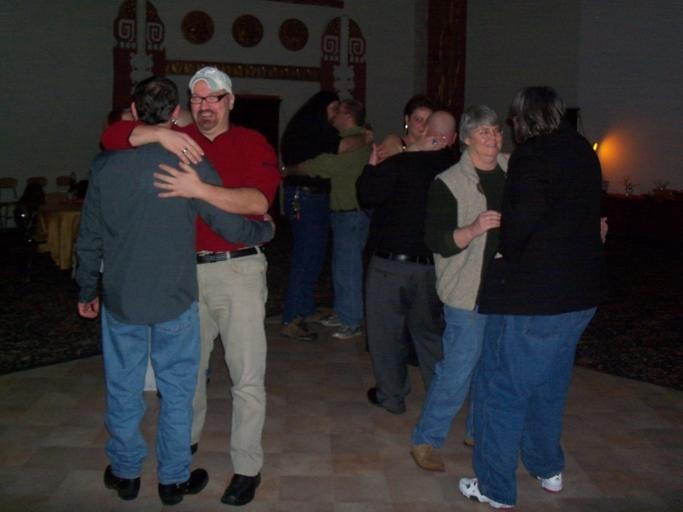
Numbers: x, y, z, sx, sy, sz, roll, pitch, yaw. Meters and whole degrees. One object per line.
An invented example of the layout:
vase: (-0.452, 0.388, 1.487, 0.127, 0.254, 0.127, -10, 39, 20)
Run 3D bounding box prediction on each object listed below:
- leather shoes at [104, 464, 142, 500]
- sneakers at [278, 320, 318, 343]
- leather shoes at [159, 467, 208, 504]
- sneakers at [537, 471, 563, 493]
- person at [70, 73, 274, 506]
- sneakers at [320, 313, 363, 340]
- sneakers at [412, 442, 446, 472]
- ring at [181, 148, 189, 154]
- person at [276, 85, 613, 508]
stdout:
leather shoes: (-1.051, 1.042, 2.782, 0.142, 0.115, 0.268, 0, 13, -31)
sneakers: (-0.358, 0.590, 4.674, 0.382, 0.229, 0.121, 0, 20, -6)
leather shoes: (-0.731, 1.068, 2.689, 0.095, 0.134, 0.210, 17, 29, 30)
sneakers: (1.011, 1.087, 2.820, 0.071, 0.055, 0.131, -3, -3, -4)
person: (-0.855, 0.171, 2.639, 0.845, 1.880, 0.413, 4, 13, 15)
sneakers: (0.009, 0.595, 4.768, 0.406, 0.153, 0.130, 10, -1, -29)
sneakers: (0.439, 1.007, 2.923, 0.094, 0.069, 0.175, -1, 2, -20)
ring: (-0.657, -0.432, 2.422, 0.023, 0.021, 0.008, 2, 1, -6)
person: (0.775, 0.203, 2.635, 0.725, 1.874, 0.394, 5, 14, 21)
